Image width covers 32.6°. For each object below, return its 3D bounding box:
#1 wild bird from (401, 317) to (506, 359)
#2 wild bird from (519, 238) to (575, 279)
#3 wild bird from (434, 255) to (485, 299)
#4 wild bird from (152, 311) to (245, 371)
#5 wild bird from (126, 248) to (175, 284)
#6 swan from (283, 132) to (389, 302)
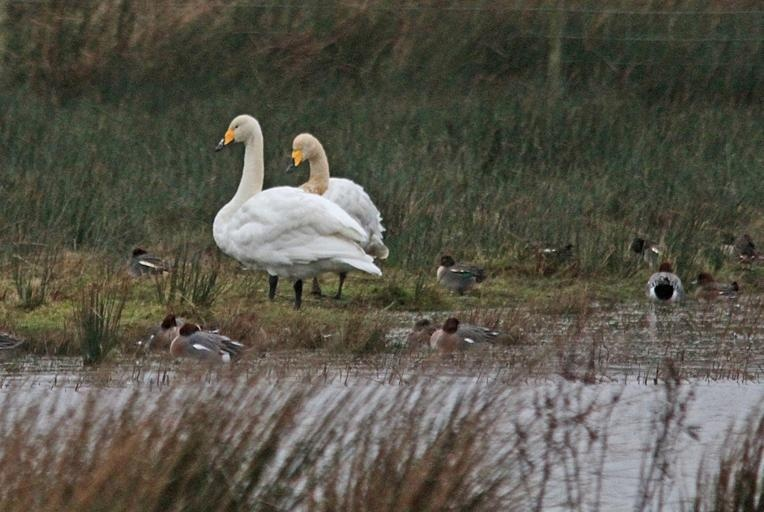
[{"bbox_3d":[0.917,0.952,15.934,1.295,0.557,0.456,-5,3,15],"label":"wild bird"},{"bbox_3d":[2.370,0.012,18.654,0.543,0.291,0.536,0,23,16],"label":"wild bird"},{"bbox_3d":[1.066,0.230,18.046,0.628,0.471,0.383,4,8,38],"label":"wild bird"},{"bbox_3d":[-2.217,1.010,15.470,0.996,0.674,0.546,5,-3,14],"label":"wild bird"},{"bbox_3d":[-3.177,0.076,17.714,0.428,0.234,0.549,-21,26,-29],"label":"wild bird"},{"bbox_3d":[-0.773,-0.522,18.488,1.016,2.397,1.636,-2,-2,29],"label":"swan"}]
